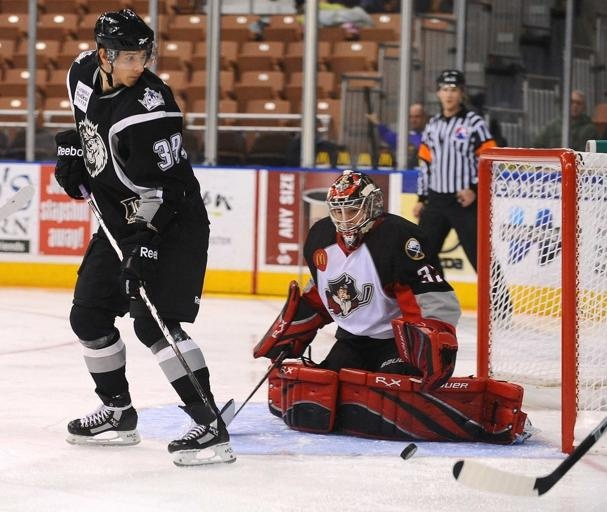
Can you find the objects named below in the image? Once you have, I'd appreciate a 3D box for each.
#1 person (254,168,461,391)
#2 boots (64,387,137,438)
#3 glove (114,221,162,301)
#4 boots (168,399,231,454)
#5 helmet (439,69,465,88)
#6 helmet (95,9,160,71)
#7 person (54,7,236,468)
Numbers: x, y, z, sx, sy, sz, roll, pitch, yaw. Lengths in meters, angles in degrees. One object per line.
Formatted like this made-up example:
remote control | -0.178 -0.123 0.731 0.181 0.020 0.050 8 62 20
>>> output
person | 0.235 0.075 3.911 0.779 0.816 0.287 2 6 31
boots | -0.706 0.628 3.822 0.354 0.201 0.116 3 -7 -4
glove | -0.556 0.010 3.479 0.102 0.227 0.186 13 8 -13
boots | -0.353 0.606 3.550 0.287 0.143 0.102 -2 1 -37
helmet | 0.883 -1.081 6.055 0.112 0.076 0.145 -2 8 -32
helmet | -0.610 -0.780 3.540 0.209 0.213 0.195 -1 5 -9
person | -0.563 -0.089 3.646 0.762 1.603 0.369 3 6 36
